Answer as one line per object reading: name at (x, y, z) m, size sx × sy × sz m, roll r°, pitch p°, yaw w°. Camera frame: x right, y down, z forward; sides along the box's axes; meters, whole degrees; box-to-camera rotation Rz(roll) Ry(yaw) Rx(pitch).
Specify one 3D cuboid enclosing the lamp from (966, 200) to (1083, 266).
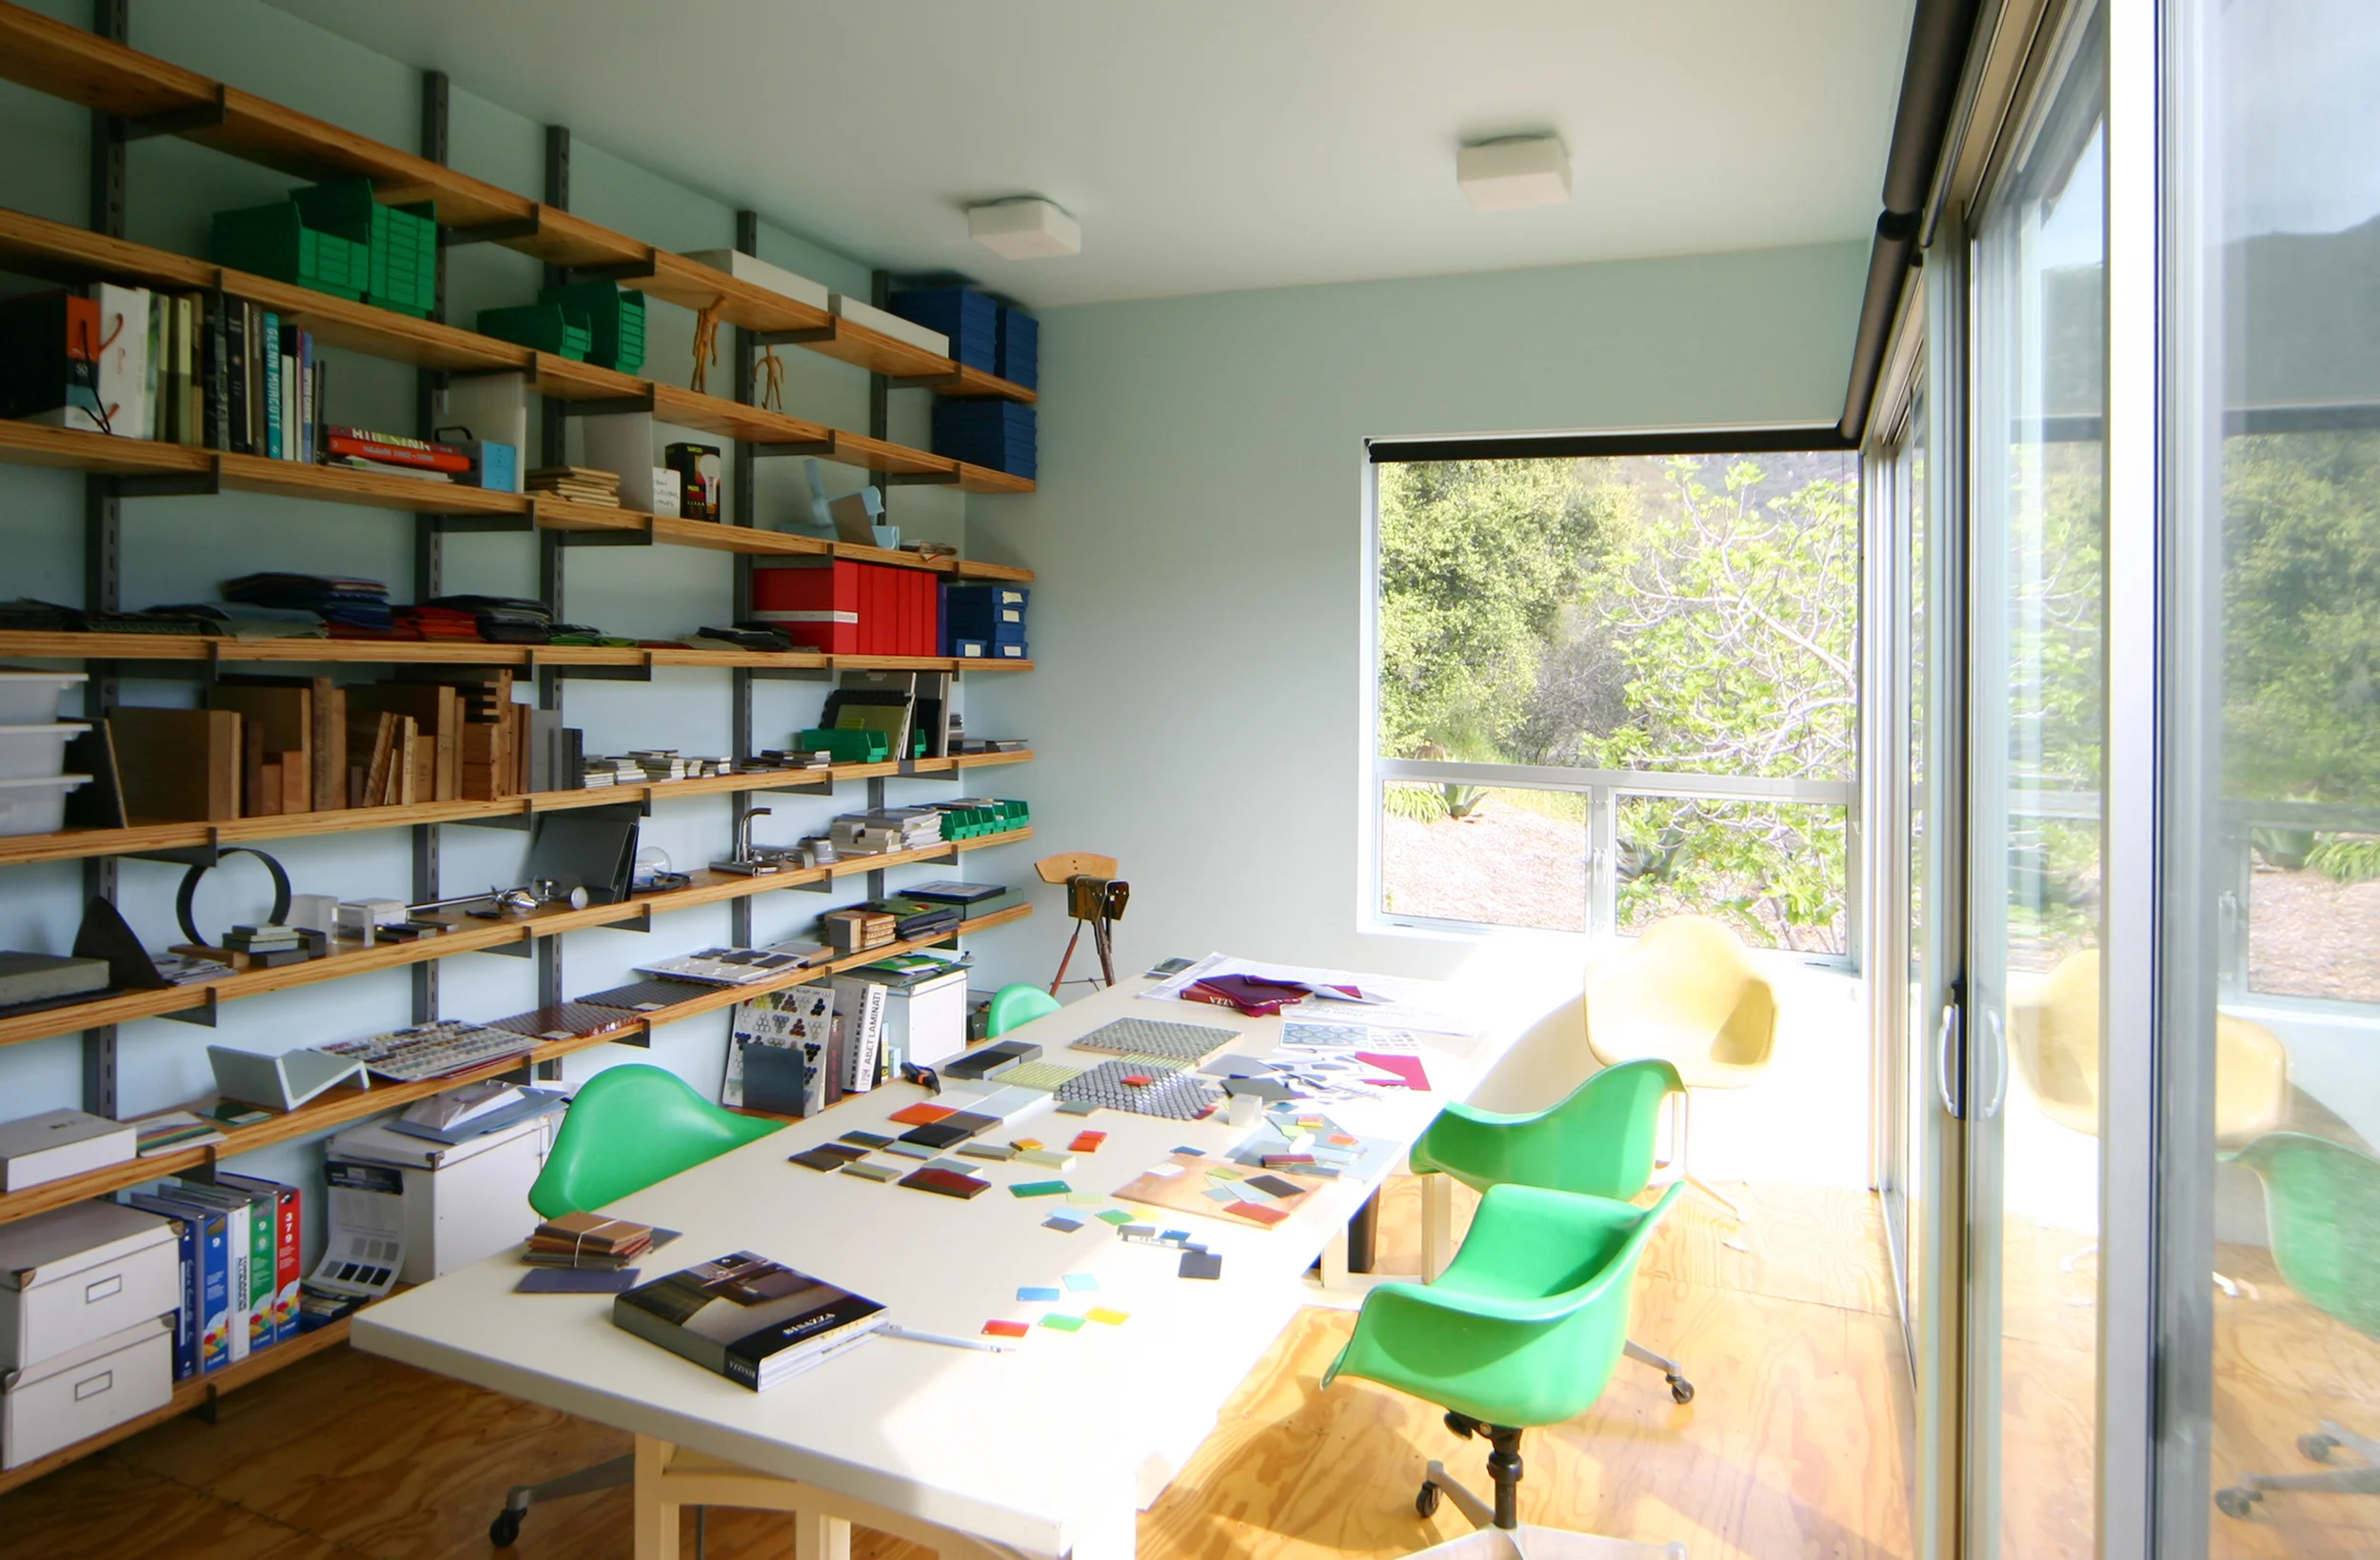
lamp at (-0.544, -1.922, 5.729) m, size 0.245 × 0.059 × 0.210 m, roll 3°, pitch 4°, yaw 31°

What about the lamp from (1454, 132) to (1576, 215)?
lamp at (1.035, -1.919, 5.124) m, size 0.340 × 0.160 × 0.255 m, roll -1°, pitch 6°, yaw 14°

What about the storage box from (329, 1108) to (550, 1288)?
storage box at (-1.976, 1.089, 4.232) m, size 0.424 × 0.366 × 0.647 m, roll 0°, pitch 1°, yaw 23°

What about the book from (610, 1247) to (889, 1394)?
book at (-0.765, 0.962, 2.921) m, size 0.276 × 0.035 × 0.241 m, roll 7°, pitch 6°, yaw 35°

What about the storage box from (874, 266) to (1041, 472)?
storage box at (-0.949, -1.664, 6.567) m, size 0.540 × 0.697 × 0.919 m, roll 3°, pitch 6°, yaw 26°
